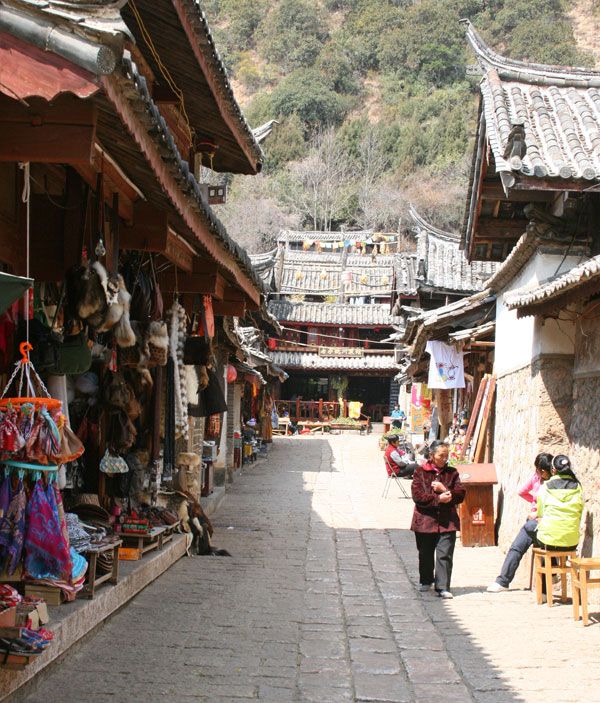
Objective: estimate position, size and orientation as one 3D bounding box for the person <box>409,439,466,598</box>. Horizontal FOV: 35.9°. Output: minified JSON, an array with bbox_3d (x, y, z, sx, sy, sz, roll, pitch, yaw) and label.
[{"bbox_3d":[1.322,1.605,9.007,0.493,1.459,0.606,2,-2,8],"label":"person"}]

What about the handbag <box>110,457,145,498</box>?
[{"bbox_3d":[-1.629,1.206,8.808,0.265,0.394,0.125,5,6,-4],"label":"handbag"}]

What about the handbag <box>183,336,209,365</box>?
[{"bbox_3d":[-1.132,-0.050,10.154,0.263,0.368,0.355,-5,8,-38],"label":"handbag"}]

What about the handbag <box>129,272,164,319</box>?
[{"bbox_3d":[-1.272,-0.445,7.540,0.120,0.325,0.271,4,10,23],"label":"handbag"}]

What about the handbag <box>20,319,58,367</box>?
[{"bbox_3d":[-1.674,-0.052,5.964,0.121,0.383,0.193,-12,-5,35],"label":"handbag"}]

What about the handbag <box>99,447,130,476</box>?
[{"bbox_3d":[-1.698,0.982,8.374,0.255,0.359,0.107,3,-15,-20],"label":"handbag"}]

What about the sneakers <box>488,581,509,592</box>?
[{"bbox_3d":[1.935,2.287,9.022,0.188,0.080,0.094,5,-7,-12],"label":"sneakers"}]

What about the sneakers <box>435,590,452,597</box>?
[{"bbox_3d":[1.364,2.292,8.764,0.051,0.059,0.144,2,-12,-10],"label":"sneakers"}]

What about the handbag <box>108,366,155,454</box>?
[{"bbox_3d":[-1.565,0.551,8.597,0.415,0.806,1.296,2,-2,-9],"label":"handbag"}]

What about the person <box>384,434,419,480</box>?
[{"bbox_3d":[1.928,2.010,17.496,0.556,1.014,0.452,-8,7,-5],"label":"person"}]

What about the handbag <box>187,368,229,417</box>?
[{"bbox_3d":[-1.108,0.487,11.155,0.403,0.548,0.612,2,-2,-12],"label":"handbag"}]
